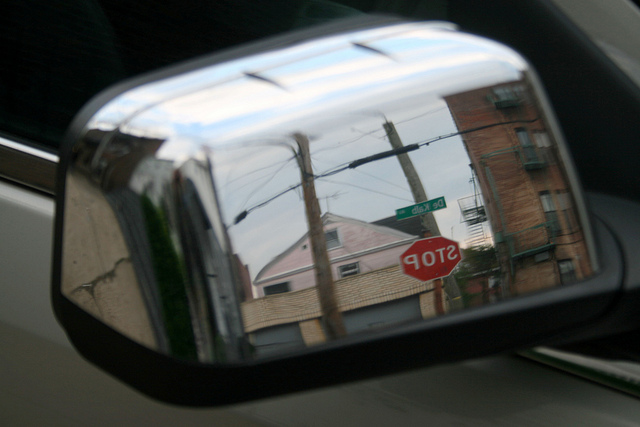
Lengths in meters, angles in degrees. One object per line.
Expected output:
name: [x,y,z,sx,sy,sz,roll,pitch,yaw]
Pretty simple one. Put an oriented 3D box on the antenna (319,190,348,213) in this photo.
antenna: [0.028,-0.025,1.671,0.051,0.036,0.009,-17,-15,8]
